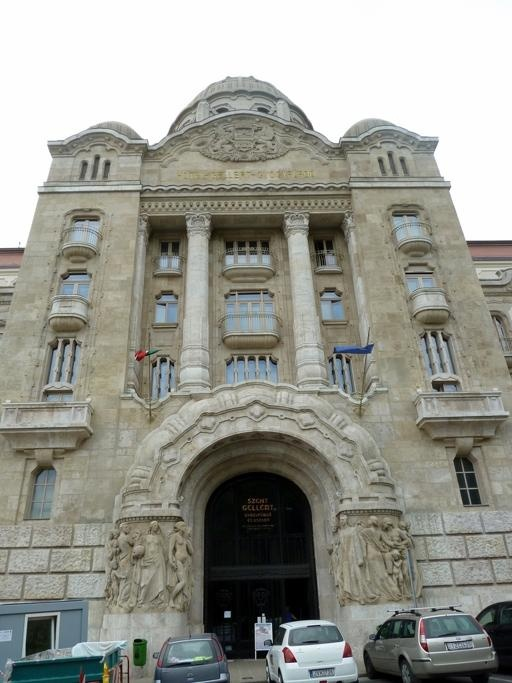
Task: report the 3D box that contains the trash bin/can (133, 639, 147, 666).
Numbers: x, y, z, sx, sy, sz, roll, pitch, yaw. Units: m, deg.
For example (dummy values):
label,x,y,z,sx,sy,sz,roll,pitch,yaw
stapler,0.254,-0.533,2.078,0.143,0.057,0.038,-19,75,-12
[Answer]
label,x,y,z,sx,sy,sz,roll,pitch,yaw
trash bin/can,-3.793,10.130,16.330,0.403,0.724,0.582,3,-32,-13
